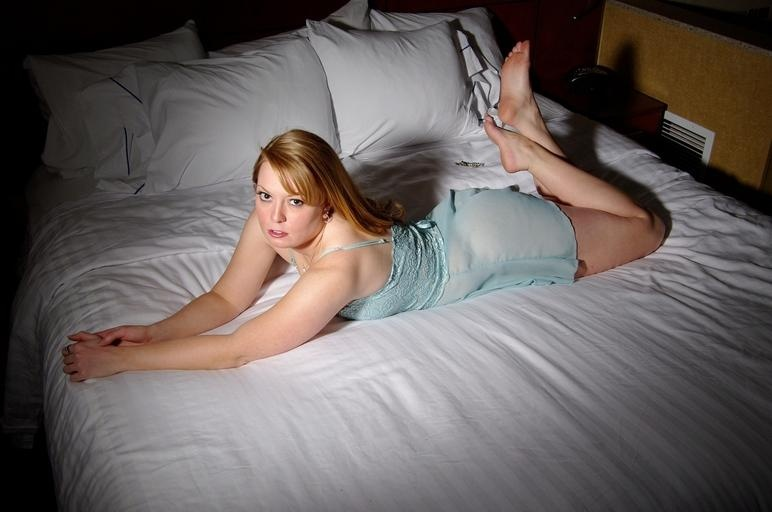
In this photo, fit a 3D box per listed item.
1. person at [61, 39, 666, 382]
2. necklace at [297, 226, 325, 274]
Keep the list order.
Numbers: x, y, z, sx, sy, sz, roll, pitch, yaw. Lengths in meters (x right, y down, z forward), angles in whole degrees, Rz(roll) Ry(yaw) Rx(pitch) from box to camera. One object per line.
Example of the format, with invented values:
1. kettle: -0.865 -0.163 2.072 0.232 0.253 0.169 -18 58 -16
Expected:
1. person: -0.025 -0.140 1.819 2.142 0.692 0.682 -14 32 -19
2. necklace: -0.247 -0.019 1.655 0.111 0.144 0.051 1 -2 24
